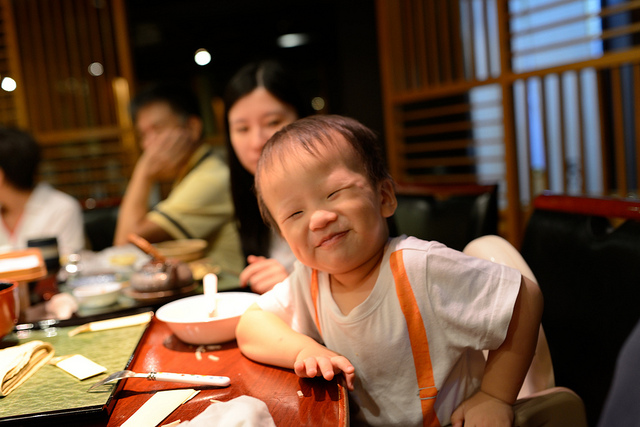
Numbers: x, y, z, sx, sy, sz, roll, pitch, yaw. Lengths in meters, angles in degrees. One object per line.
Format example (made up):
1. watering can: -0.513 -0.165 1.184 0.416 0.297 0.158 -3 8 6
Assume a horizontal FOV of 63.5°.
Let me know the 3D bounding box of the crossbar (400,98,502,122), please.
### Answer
1. crossbar: 1.147 -0.888 4.502 0.338 0.131 1.154 -6 10 -26

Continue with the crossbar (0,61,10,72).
1. crossbar: -3.320 -1.548 5.470 0.088 0.101 0.089 0 -5 14

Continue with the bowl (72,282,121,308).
1. bowl: -0.912 0.332 2.131 0.181 0.066 0.177 -2 9 0

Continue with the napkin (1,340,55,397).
1. napkin: -0.921 0.497 1.631 0.137 0.042 0.132 -16 9 24

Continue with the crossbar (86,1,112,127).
1. crossbar: -2.389 -1.590 5.692 0.144 1.384 0.154 -16 9 -31

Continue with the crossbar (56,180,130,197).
1. crossbar: -2.529 -0.291 5.771 1.119 0.167 0.084 -4 12 9

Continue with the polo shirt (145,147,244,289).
1. polo shirt: -0.742 0.124 3.344 0.594 0.967 0.863 -10 0 -13

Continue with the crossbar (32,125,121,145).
1. crossbar: -2.643 -0.861 5.707 0.909 0.186 0.176 -3 10 -7

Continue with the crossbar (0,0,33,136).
1. crossbar: -3.215 -1.556 5.482 0.146 1.350 0.218 -8 12 -31

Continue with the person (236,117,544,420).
1. person: 0.193 0.171 1.579 0.909 0.915 0.439 -3 10 -8

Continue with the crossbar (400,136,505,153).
1. crossbar: 1.205 -0.603 4.595 0.278 0.152 1.281 -7 10 -29

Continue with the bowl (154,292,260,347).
1. bowl: -0.380 0.404 1.804 0.264 0.090 0.277 -8 -5 -1

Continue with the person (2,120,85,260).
1. person: -1.856 -0.148 3.430 0.471 0.863 0.533 -7 11 -25

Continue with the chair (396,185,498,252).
1. chair: 0.719 0.024 2.817 0.407 0.571 0.410 0 4 24

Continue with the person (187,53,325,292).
1. person: -0.194 -0.185 2.631 0.653 1.058 0.688 -13 3 -37

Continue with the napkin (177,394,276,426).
1. napkin: -0.238 0.528 1.376 0.133 0.050 0.112 -3 14 17
